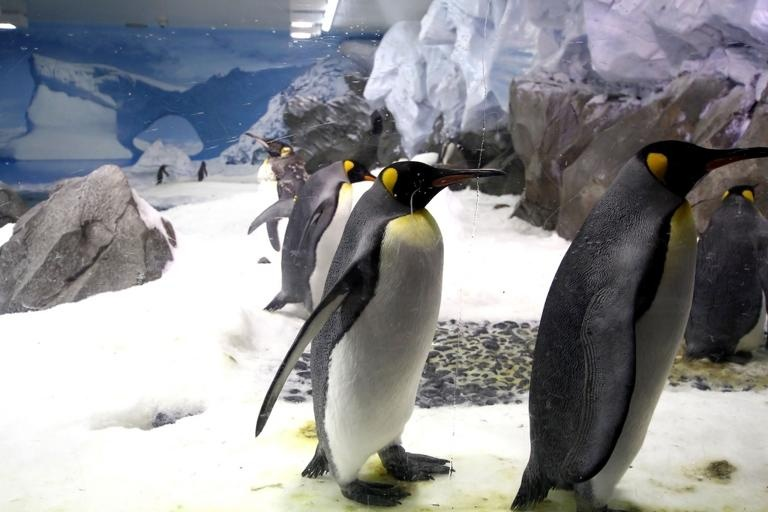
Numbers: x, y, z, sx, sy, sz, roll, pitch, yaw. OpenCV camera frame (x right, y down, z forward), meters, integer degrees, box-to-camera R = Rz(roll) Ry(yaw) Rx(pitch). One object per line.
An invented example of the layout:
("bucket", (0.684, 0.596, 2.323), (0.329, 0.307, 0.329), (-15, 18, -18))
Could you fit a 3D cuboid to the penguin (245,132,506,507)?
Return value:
("penguin", (-0.060, 0.231, 2.970), (0.844, 1.554, 1.043), (-1, -15, 6))
